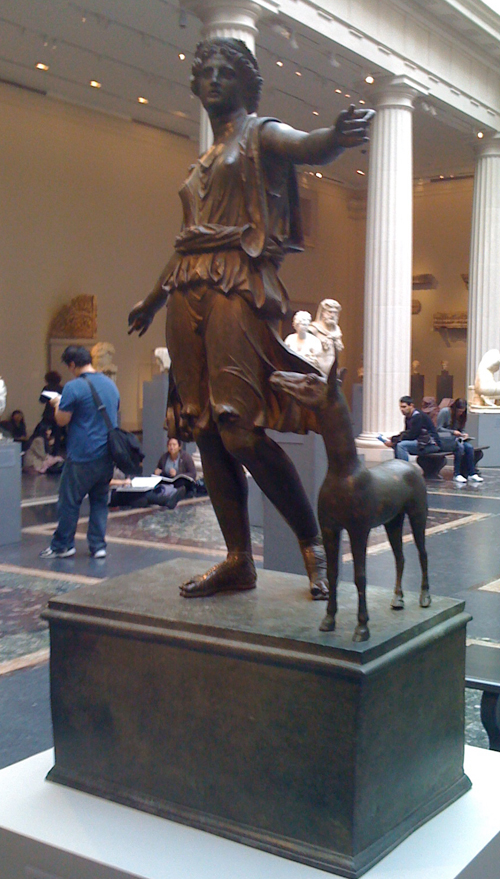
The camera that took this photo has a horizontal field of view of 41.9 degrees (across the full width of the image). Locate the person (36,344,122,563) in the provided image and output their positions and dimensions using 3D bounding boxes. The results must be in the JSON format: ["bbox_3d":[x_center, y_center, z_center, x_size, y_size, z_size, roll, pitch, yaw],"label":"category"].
[{"bbox_3d":[-1.609,0.112,6.356,0.663,2.117,0.703,1,-3,-18],"label":"person"}]

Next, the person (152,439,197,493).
[{"bbox_3d":[-1.031,0.414,10.180,0.750,1.074,0.825,-2,-3,9],"label":"person"}]

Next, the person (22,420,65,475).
[{"bbox_3d":[-4.217,0.122,13.425,0.974,1.348,1.121,-1,-1,-1],"label":"person"}]

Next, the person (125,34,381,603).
[{"bbox_3d":[0.028,-0.421,2.172,0.450,1.880,0.928,2,-3,-34],"label":"person"}]

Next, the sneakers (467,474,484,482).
[{"bbox_3d":[4.288,0.742,12.512,0.277,0.175,0.523,0,-3,19],"label":"sneakers"}]

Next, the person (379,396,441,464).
[{"bbox_3d":[3.062,-0.205,12.606,0.865,1.244,1.051,1,-3,-17],"label":"person"}]

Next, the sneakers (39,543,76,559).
[{"bbox_3d":[-1.886,1.110,6.480,0.315,0.150,0.116,5,-1,-18],"label":"sneakers"}]

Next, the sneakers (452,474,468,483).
[{"bbox_3d":[3.952,0.752,12.373,0.113,0.124,0.303,-2,-1,-5],"label":"sneakers"}]
